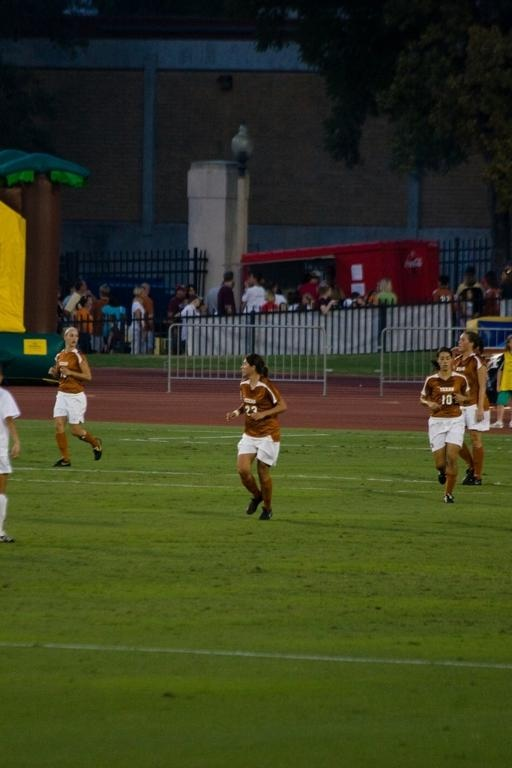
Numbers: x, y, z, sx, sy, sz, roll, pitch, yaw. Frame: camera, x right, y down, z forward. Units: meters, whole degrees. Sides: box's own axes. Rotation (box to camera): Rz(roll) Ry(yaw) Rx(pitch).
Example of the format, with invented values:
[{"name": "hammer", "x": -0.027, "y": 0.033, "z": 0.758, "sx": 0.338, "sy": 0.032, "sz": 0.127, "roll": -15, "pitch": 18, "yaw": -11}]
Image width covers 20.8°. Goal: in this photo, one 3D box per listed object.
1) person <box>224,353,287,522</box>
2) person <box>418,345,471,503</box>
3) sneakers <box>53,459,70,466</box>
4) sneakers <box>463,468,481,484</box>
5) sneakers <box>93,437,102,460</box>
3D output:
[{"name": "person", "x": -0.004, "y": 0.408, "z": 10.753, "sx": 0.429, "sy": 1.278, "sz": 0.530, "roll": 1, "pitch": 4, "yaw": -2}, {"name": "person", "x": 1.565, "y": 0.356, "z": 11.677, "sx": 0.378, "sy": 1.275, "sz": 0.471, "roll": 2, "pitch": 4, "yaw": 13}, {"name": "sneakers", "x": -1.917, "y": 0.775, "z": 13.671, "sx": 0.066, "sy": 0.090, "sz": 0.196, "roll": 2, "pitch": 1, "yaw": -30}, {"name": "sneakers", "x": 2.001, "y": 0.863, "z": 12.960, "sx": 0.197, "sy": 0.201, "sz": 0.094, "roll": -1, "pitch": 7, "yaw": -6}, {"name": "sneakers", "x": -1.610, "y": 0.668, "z": 13.971, "sx": 0.076, "sy": 0.237, "sz": 0.099, "roll": 1, "pitch": 10, "yaw": 7}]
